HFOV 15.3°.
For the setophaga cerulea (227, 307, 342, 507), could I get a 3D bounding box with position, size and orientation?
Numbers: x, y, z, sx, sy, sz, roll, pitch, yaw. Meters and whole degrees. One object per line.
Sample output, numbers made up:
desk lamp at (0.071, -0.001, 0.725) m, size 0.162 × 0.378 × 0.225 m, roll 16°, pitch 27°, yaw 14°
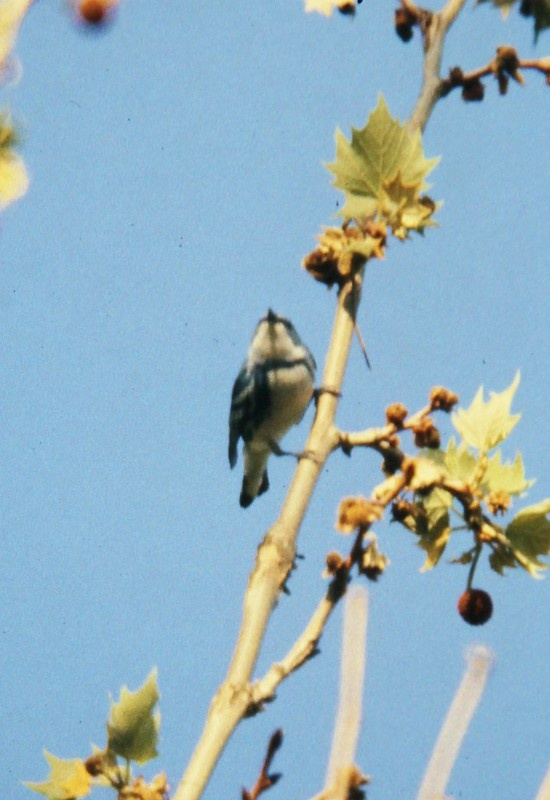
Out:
setophaga cerulea at (-0.011, -0.013, 5.172) m, size 0.180 × 0.386 × 0.552 m, roll -16°, pitch 1°, yaw -15°
